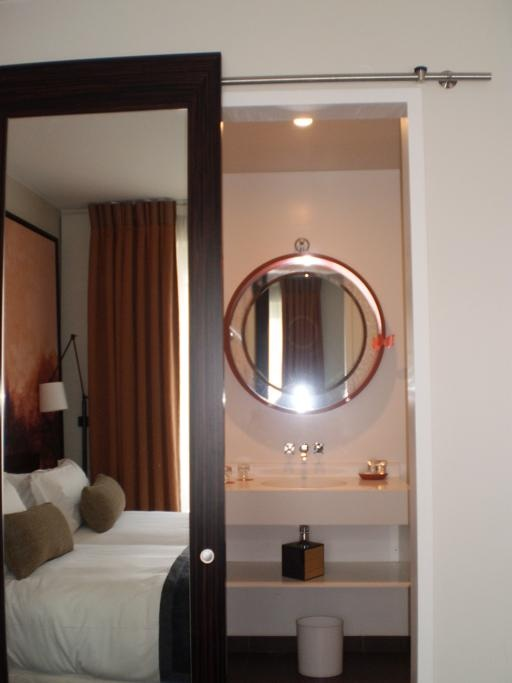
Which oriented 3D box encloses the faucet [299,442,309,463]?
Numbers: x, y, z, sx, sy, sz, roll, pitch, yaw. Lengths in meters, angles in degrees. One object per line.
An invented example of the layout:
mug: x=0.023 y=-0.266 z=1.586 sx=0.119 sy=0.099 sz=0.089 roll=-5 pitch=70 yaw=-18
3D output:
faucet: x=0.225 y=0.525 z=3.131 sx=0.045 sy=0.089 sz=0.084 roll=0 pitch=-3 yaw=5

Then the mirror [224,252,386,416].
mirror: x=0.237 y=-0.078 z=3.221 sx=0.882 sy=1.218 sz=0.104 roll=0 pitch=-36 yaw=2

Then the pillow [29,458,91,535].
pillow: x=-0.545 y=0.422 z=1.815 sx=0.153 sy=0.197 sz=0.048 roll=9 pitch=-13 yaw=-41

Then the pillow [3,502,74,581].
pillow: x=-0.612 y=0.536 z=1.861 sx=0.164 sy=0.227 sz=0.098 roll=-12 pitch=-11 yaw=-1

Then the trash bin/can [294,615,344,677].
trash bin/can: x=0.279 y=1.340 z=2.883 sx=0.170 sy=0.264 sz=0.204 roll=1 pitch=-10 yaw=7

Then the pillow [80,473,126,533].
pillow: x=-0.427 y=0.459 z=1.888 sx=0.079 sy=0.133 sz=0.166 roll=-10 pitch=1 yaw=5

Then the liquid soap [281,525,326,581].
liquid soap: x=0.219 y=0.902 z=2.920 sx=0.178 sy=0.360 sz=0.211 roll=1 pitch=1 yaw=9
